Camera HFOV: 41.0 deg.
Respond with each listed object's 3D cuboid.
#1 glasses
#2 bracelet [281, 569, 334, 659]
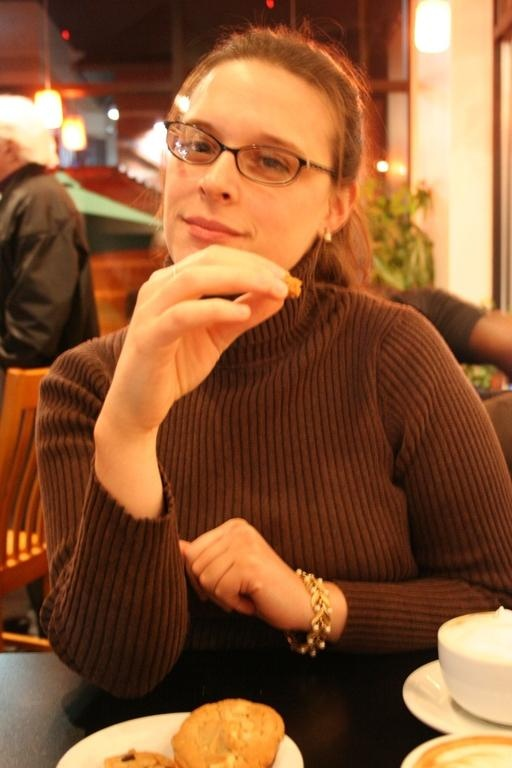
[{"bbox_3d":[0.002,-0.281,0.840,0.220,0.078,0.123,-1,12,-9],"label":"glasses"},{"bbox_3d":[0.069,0.269,0.786,0.072,0.078,0.059,15,-17,-18],"label":"bracelet"}]
